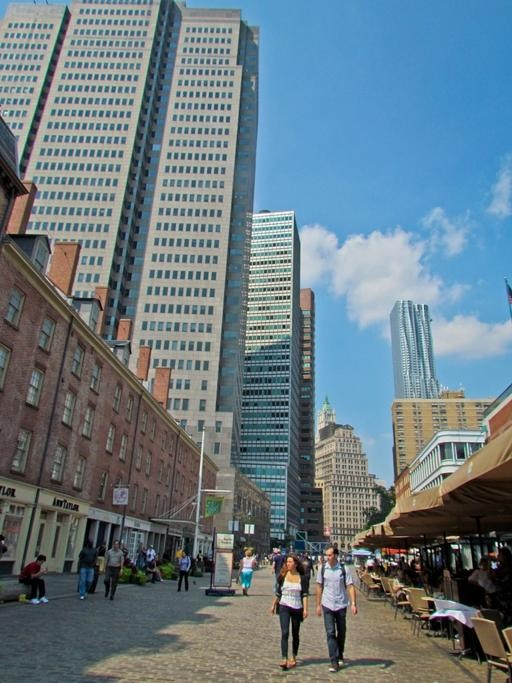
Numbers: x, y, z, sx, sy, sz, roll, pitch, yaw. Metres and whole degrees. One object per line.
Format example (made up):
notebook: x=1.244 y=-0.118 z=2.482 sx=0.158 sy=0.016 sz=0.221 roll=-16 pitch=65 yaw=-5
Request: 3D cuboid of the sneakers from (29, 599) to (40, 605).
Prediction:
sneakers: x=-6.172 y=7.162 z=12.288 sx=0.359 sy=0.167 sz=0.134 roll=-16 pitch=-20 yaw=42

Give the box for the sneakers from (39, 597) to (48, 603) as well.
sneakers: x=-6.131 y=7.418 z=12.737 sx=0.099 sy=0.129 sz=0.269 roll=10 pitch=-17 yaw=-34
